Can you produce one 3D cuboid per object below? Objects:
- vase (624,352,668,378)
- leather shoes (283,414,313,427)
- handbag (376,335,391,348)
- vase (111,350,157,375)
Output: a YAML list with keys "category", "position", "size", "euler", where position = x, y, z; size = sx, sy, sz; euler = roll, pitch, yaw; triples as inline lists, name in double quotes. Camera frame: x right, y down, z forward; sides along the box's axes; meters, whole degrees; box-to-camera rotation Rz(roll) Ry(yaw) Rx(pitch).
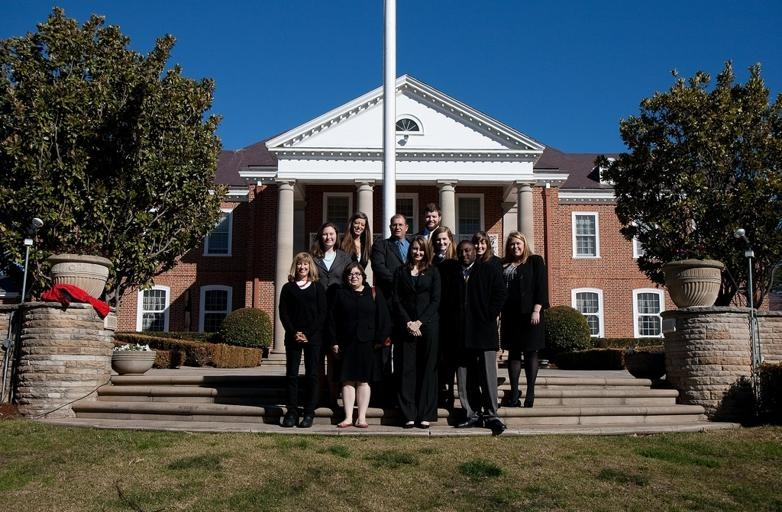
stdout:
- category: "vase"
  position: [5.503, 2.349, 17.128]
  size: [0.612, 0.474, 0.694]
  euler: [2, -2, -32]
- category: "leather shoes"
  position: [-1.679, 2.959, 14.106]
  size: [0.503, 0.221, 0.233]
  euler: [5, -8, -13]
- category: "handbag"
  position: [-0.139, 1.521, 14.011]
  size: [0.195, 0.193, 0.228]
  euler: [0, -14, 2]
- category: "vase"
  position: [-5.755, 2.376, 17.695]
  size: [0.629, 0.327, 0.627]
  euler: [2, -5, -41]
